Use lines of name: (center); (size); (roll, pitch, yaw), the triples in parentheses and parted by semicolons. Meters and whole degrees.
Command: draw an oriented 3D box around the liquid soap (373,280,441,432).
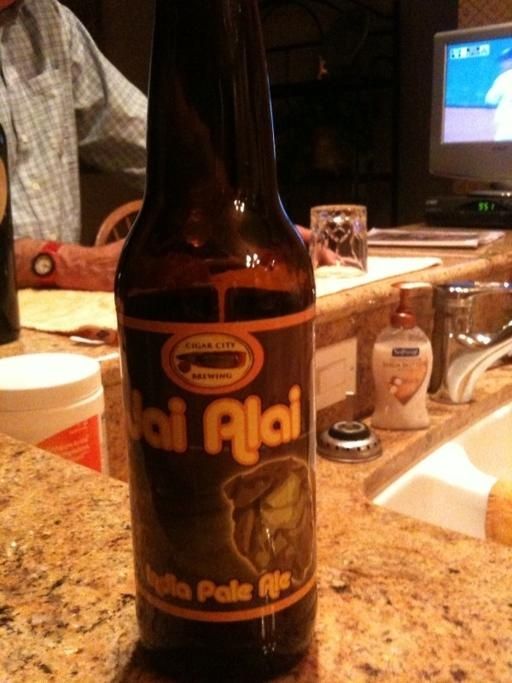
liquid soap: (0.214, 0.004, 0.856); (0.079, 0.193, 0.229); (7, 14, 17)

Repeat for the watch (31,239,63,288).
watch: (-0.315, -0.118, 0.936); (0.046, 0.065, 0.061); (5, 14, 7)

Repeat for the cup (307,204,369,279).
cup: (0.145, -0.162, 0.985); (0.096, 0.116, 0.100); (-3, 6, 0)
